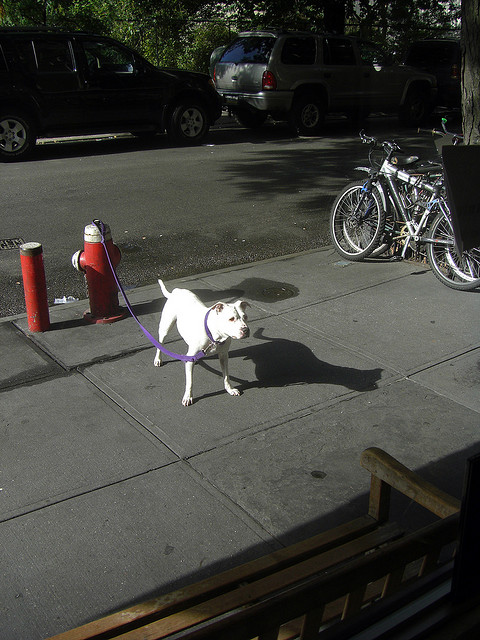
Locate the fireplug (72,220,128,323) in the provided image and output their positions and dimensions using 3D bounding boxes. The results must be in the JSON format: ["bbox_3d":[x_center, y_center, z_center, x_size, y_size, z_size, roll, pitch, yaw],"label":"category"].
[{"bbox_3d":[-1.342,-0.444,5.243,0.445,0.967,0.301,-4,22,-4],"label":"fireplug"}]

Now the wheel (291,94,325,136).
[{"bbox_3d":[2.076,-5.723,15.720,1.083,0.986,0.386,17,16,39],"label":"wheel"}]

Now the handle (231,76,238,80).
[{"bbox_3d":[-0.139,-6.604,15.230,0.020,0.092,0.255,-19,26,-34],"label":"handle"}]

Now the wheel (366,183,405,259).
[{"bbox_3d":[1.835,-1.199,6.920,0.398,0.931,0.432,-2,22,1],"label":"wheel"}]

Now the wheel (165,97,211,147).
[{"bbox_3d":[-1.340,-5.176,14.422,1.125,1.031,0.393,-16,34,-39],"label":"wheel"}]

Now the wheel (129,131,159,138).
[{"bbox_3d":[-2.716,-5.337,16.045,0.486,0.106,0.483,0,15,0],"label":"wheel"}]

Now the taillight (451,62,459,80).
[{"bbox_3d":[6.984,-8.031,18.007,0.226,0.516,0.244,5,23,18],"label":"taillight"}]

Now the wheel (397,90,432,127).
[{"bbox_3d":[5.461,-6.644,17.409,1.104,1.006,0.412,-14,33,-36],"label":"wheel"}]

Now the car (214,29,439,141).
[{"bbox_3d":[2.683,-7.051,16.763,6.712,2.774,2.372,-14,24,-29],"label":"car"}]
